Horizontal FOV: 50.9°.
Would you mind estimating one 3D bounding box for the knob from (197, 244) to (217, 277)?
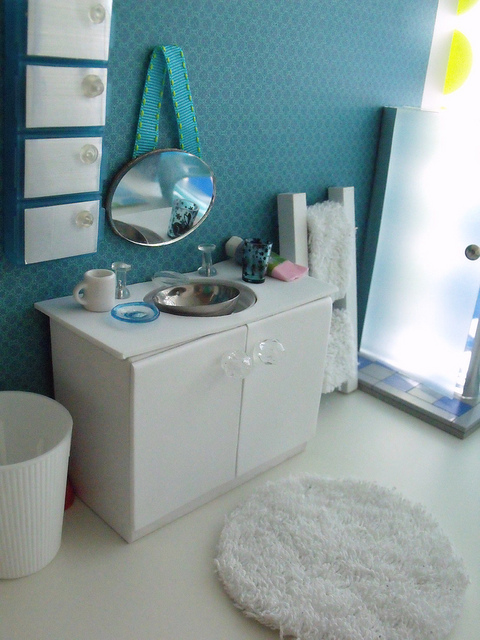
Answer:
[{"bbox_3d":[-0.119,-0.232,1.840,0.070,0.107,0.180,2,19,-5],"label":"knob"}]

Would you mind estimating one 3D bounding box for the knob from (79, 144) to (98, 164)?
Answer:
[{"bbox_3d":[-0.387,-0.423,1.284,0.014,0.048,0.053,16,23,31],"label":"knob"}]

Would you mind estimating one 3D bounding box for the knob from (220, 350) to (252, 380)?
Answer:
[{"bbox_3d":[-0.013,0.121,1.426,0.077,0.079,0.049,-5,9,-38],"label":"knob"}]

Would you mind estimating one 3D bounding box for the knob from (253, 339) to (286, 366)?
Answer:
[{"bbox_3d":[0.079,0.089,1.557,0.080,0.082,0.077,16,0,-24],"label":"knob"}]

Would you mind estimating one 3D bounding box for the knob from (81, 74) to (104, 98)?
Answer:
[{"bbox_3d":[-0.353,-0.557,1.203,0.045,0.046,0.017,-34,36,-28],"label":"knob"}]

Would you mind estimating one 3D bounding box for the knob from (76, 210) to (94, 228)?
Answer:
[{"bbox_3d":[-0.419,-0.275,1.366,0.015,0.048,0.056,16,23,32],"label":"knob"}]

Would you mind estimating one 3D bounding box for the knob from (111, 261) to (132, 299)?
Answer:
[{"bbox_3d":[-0.368,-0.132,1.562,0.053,0.105,0.183,-1,20,-14],"label":"knob"}]

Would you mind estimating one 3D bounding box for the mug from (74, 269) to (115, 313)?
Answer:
[{"bbox_3d":[-0.407,-0.096,1.453,0.084,0.111,0.135,20,28,35],"label":"mug"}]

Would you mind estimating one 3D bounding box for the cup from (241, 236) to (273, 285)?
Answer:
[{"bbox_3d":[0.054,-0.210,1.777,0.095,0.148,0.111,4,19,-1],"label":"cup"}]

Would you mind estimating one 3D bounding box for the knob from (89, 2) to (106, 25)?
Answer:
[{"bbox_3d":[-0.323,-0.693,1.142,0.026,0.039,0.039,8,20,13],"label":"knob"}]
